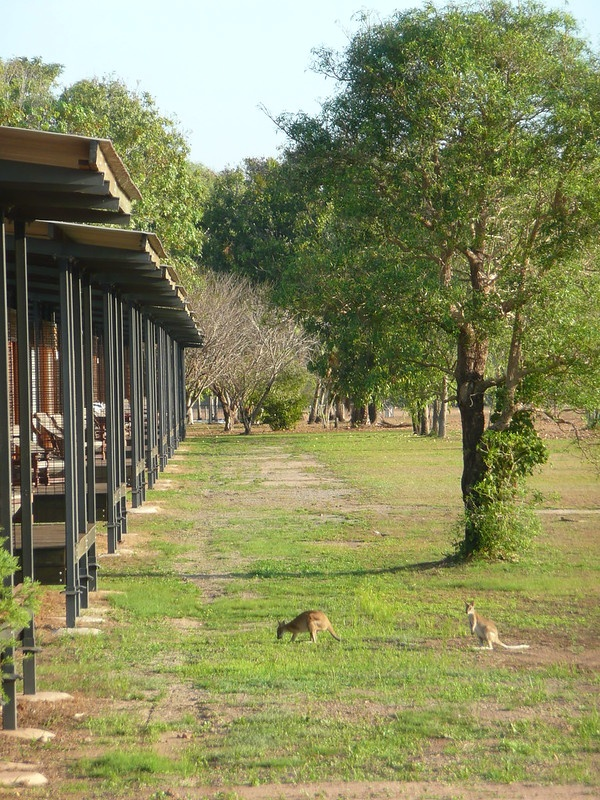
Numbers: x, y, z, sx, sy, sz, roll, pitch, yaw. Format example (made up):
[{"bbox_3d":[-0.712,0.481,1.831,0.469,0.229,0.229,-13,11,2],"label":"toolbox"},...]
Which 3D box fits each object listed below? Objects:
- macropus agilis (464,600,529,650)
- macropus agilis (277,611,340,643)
[{"bbox_3d":[1.712,1.991,13.809,0.513,0.378,0.222,0,-2,6],"label":"macropus agilis"},{"bbox_3d":[0.048,2.041,14.038,0.717,0.389,0.239,-1,-15,1],"label":"macropus agilis"}]
